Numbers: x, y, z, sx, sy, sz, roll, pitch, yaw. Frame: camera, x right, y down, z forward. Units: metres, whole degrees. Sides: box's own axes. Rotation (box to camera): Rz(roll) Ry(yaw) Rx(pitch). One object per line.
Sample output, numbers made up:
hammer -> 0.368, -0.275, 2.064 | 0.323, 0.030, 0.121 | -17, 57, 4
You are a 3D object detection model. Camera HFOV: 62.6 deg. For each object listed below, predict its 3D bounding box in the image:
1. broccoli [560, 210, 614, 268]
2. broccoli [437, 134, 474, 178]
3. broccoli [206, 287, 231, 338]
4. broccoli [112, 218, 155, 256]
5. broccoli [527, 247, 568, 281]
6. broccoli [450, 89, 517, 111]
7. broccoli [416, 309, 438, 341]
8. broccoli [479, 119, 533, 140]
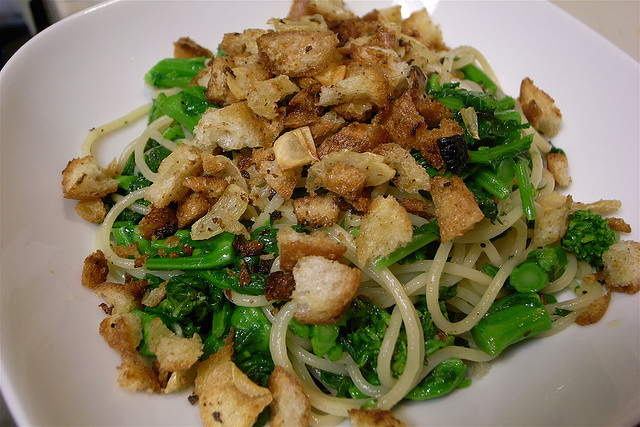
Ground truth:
broccoli -> 2.184, 0.206, 4.301 | 0.375, 0.400, 0.279 | 2, 32, 31
broccoli -> 1.017, -0.411, 4.048 | 0.089, 0.321, 0.311 | 12, 19, -28
broccoli -> -0.794, 0.747, 4.001 | 0.205, 0.351, 0.100 | 2, -13, -3
broccoli -> -1.554, 0.195, 4.323 | 0.222, 0.428, 0.119 | -25, -15, -23
broccoli -> 1.841, 0.371, 4.210 | 0.246, 0.320, 0.122 | -56, 21, -2
broccoli -> 1.356, -0.957, 4.449 | 0.275, 0.070, 0.271 | -10, 29, -32
broccoli -> 0.786, 0.859, 4.105 | 0.199, 0.202, 0.080 | -5, -23, -44
broccoli -> 1.498, -0.687, 4.309 | 0.305, 0.100, 0.104 | -23, -9, -21
